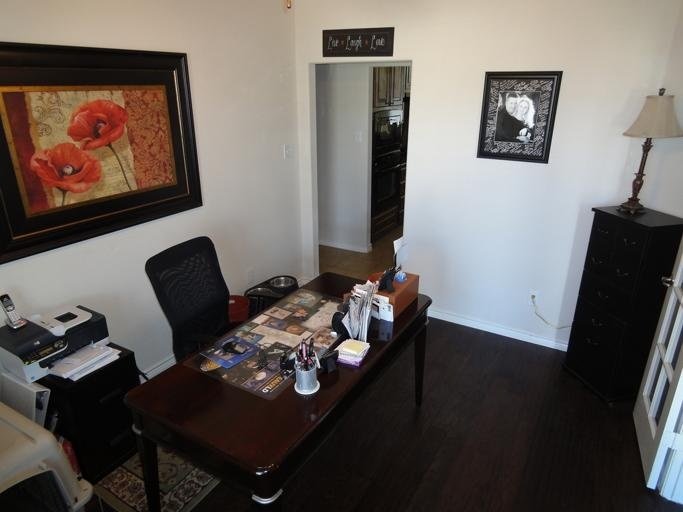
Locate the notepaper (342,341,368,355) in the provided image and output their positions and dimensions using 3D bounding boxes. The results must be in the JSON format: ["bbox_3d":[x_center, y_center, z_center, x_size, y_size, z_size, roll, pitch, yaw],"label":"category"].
[{"bbox_3d":[0.066,0.494,2.525,0.073,0.018,0.075,11,25,25],"label":"notepaper"}]

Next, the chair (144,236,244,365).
[{"bbox_3d":[-1.034,0.322,3.153,0.511,0.866,0.538,28,44,29],"label":"chair"}]

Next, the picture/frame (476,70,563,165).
[{"bbox_3d":[1.409,-1.101,3.641,0.607,0.759,0.048,14,26,25],"label":"picture/frame"}]

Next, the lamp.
[{"bbox_3d":[2.152,-0.732,3.260,0.389,0.809,0.357,-3,23,-5],"label":"lamp"}]

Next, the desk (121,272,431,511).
[{"bbox_3d":[-0.363,0.805,2.674,0.603,0.570,1.149,14,29,27],"label":"desk"}]

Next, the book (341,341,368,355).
[{"bbox_3d":[0.064,0.495,2.522,0.079,0.020,0.078,10,25,25],"label":"book"}]
